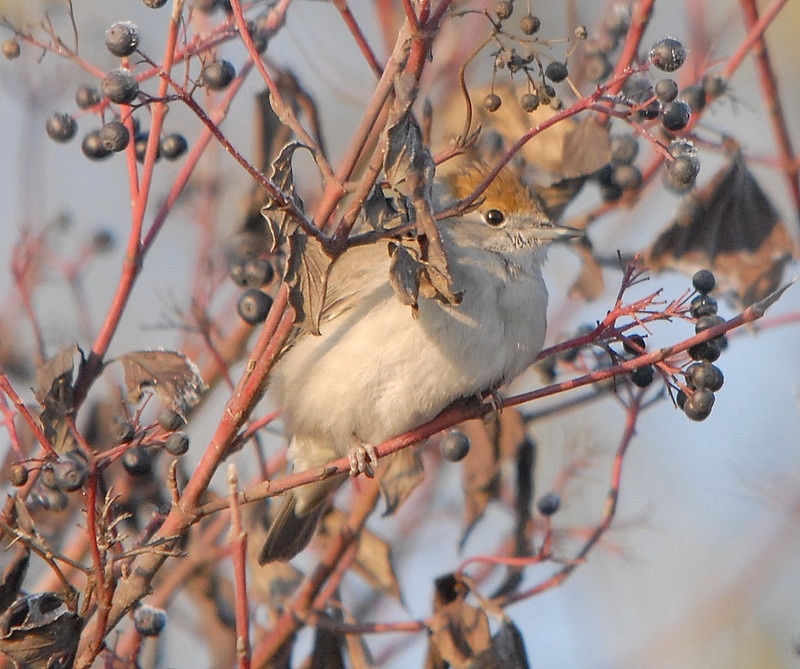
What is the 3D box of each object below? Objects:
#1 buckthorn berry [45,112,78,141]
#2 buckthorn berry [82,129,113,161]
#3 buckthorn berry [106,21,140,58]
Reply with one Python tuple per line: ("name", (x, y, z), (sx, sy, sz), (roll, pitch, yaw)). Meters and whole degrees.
("buckthorn berry", (-1.295, -0.793, 5.437), (0.090, 0.101, 0.137), (4, -84, 26))
("buckthorn berry", (-1.147, -0.714, 5.402), (0.106, 0.118, 0.137), (1, -87, 14))
("buckthorn berry", (-0.973, -1.048, 5.078), (0.102, 0.089, 0.130), (22, -81, 7))
